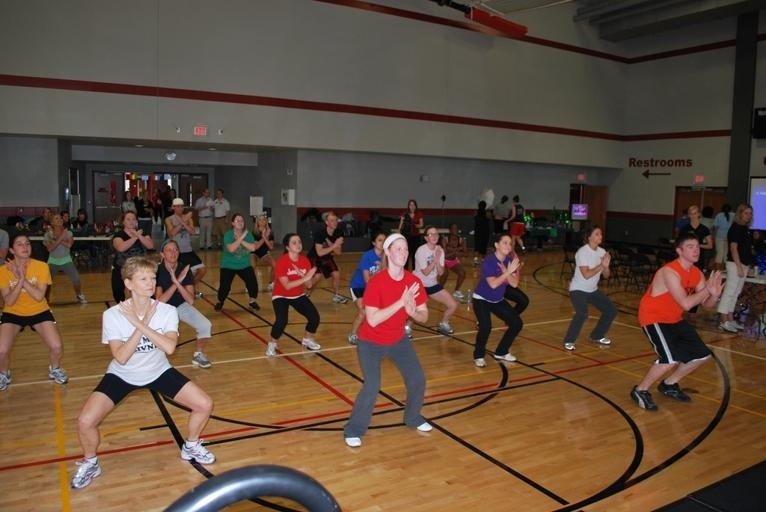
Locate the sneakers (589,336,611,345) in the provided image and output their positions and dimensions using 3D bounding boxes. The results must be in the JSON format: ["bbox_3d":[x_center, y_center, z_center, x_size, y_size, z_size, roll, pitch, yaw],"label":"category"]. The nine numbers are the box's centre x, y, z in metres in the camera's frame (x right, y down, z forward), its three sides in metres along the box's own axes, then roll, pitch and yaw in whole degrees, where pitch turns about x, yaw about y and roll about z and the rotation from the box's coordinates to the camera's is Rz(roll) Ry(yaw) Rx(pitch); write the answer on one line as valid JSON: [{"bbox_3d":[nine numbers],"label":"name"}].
[{"bbox_3d":[3.803,1.502,9.338,0.351,0.156,0.151,2,18,-9],"label":"sneakers"}]

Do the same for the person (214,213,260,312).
[{"bbox_3d":[-2.866,0.128,10.645,0.883,2.122,1.513,-3,15,-14],"label":"person"}]

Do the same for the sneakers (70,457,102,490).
[{"bbox_3d":[-3.114,2.240,5.636,0.165,0.209,0.425,7,8,14],"label":"sneakers"}]

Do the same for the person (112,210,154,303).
[{"bbox_3d":[-4.133,0.202,8.846,0.602,1.775,0.579,-3,15,-37],"label":"person"}]

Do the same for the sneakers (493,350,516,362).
[{"bbox_3d":[1.922,1.578,8.456,0.371,0.161,0.139,1,9,6],"label":"sneakers"}]

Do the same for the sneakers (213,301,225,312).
[{"bbox_3d":[-3.244,1.007,10.619,0.135,0.116,0.271,5,-4,-10],"label":"sneakers"}]

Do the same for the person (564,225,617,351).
[{"bbox_3d":[3.513,0.544,8.943,0.761,2.128,1.040,8,16,24],"label":"person"}]

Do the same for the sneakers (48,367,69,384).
[{"bbox_3d":[-4.466,1.643,7.460,0.318,0.146,0.161,15,6,24],"label":"sneakers"}]

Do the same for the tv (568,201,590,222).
[{"bbox_3d":[8.289,-1.845,22.769,0.966,0.883,0.124,-2,7,-25],"label":"tv"}]

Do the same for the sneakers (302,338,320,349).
[{"bbox_3d":[-1.172,1.450,8.802,0.297,0.137,0.145,27,19,6],"label":"sneakers"}]

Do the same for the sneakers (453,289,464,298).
[{"bbox_3d":[1.776,0.888,12.224,0.315,0.144,0.119,24,9,-28],"label":"sneakers"}]

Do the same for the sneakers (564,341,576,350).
[{"bbox_3d":[3.155,1.507,9.013,0.192,0.109,0.081,4,6,-11],"label":"sneakers"}]

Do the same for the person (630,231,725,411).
[{"bbox_3d":[3.850,0.856,7.130,0.960,2.301,0.737,0,15,-3],"label":"person"}]

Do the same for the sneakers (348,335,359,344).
[{"bbox_3d":[-0.499,1.398,8.963,0.184,0.198,0.464,0,-11,-8],"label":"sneakers"}]

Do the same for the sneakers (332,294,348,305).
[{"bbox_3d":[-0.967,0.952,11.808,0.411,0.282,0.139,-3,24,-6],"label":"sneakers"}]

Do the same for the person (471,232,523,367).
[{"bbox_3d":[1.778,0.682,8.303,0.729,2.018,0.891,5,15,13],"label":"person"}]

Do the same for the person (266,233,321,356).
[{"bbox_3d":[-1.420,0.628,8.462,0.863,1.940,0.961,-1,15,-7],"label":"person"}]

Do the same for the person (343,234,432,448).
[{"bbox_3d":[0.075,0.984,6.174,1.042,2.418,0.606,-1,15,-6],"label":"person"}]

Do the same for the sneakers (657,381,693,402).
[{"bbox_3d":[4.033,1.871,7.476,0.454,0.189,0.184,10,10,40],"label":"sneakers"}]
